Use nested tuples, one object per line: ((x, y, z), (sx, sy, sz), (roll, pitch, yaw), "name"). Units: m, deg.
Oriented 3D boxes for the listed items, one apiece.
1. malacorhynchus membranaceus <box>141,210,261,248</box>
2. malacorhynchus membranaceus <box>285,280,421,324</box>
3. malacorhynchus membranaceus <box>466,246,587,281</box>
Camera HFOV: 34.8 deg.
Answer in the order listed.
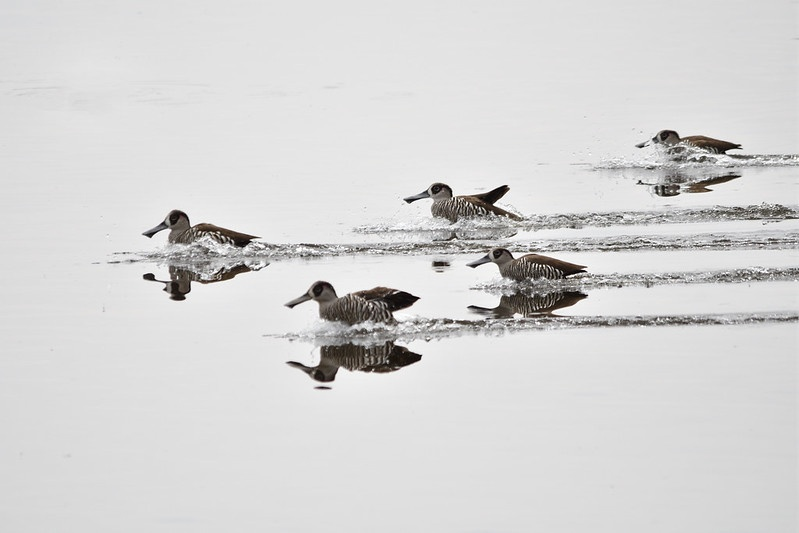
((-1.803, -0.254, 11.551), (1.047, 0.293, 0.447), (-3, -93, 16), "malacorhynchus membranaceus")
((-0.379, 0.268, 10.105), (1.054, 0.332, 0.424), (-3, -87, -6), "malacorhynchus membranaceus")
((1.099, -0.002, 11.047), (0.945, 0.303, 0.349), (-6, -89, 17), "malacorhynchus membranaceus")
